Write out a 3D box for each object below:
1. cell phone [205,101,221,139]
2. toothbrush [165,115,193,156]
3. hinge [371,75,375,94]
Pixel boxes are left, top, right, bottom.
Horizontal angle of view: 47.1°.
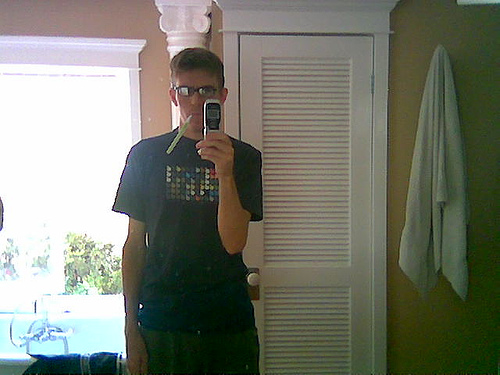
[{"bbox_3d":[-0.124,-0.225,1.903,0.051,0.112,0.053,-2,-8,-8],"label":"cell phone"},{"bbox_3d":[-0.252,-0.190,2.011,0.174,0.025,0.019,-50,-23,20],"label":"toothbrush"},{"bbox_3d":[0.460,-0.383,2.138,0.015,0.070,0.008,-5,-9,13],"label":"hinge"}]
